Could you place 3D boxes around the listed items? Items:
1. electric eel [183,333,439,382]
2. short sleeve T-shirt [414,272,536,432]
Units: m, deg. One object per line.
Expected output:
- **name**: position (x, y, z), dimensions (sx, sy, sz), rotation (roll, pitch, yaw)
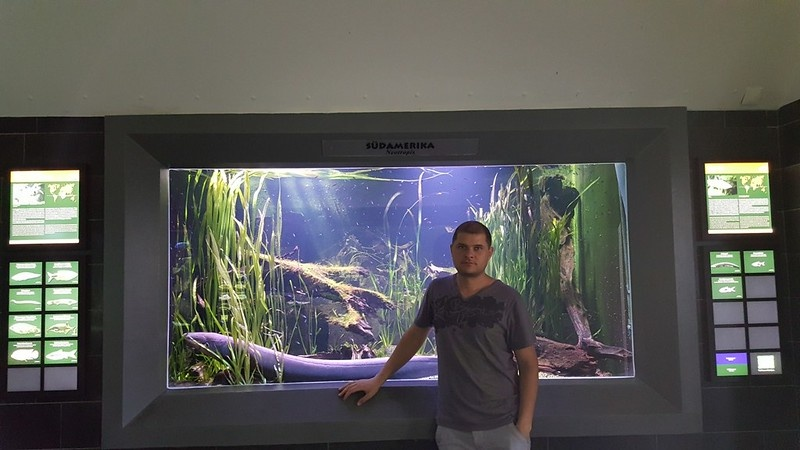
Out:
- **electric eel**: position (-0.645, 0.895, 4.626), dimensions (1.829, 0.231, 0.182), rotation (5, -15, 1)
- **short sleeve T-shirt**: position (0.497, 0.782, 4.222), dimensions (0.629, 0.933, 0.126), rotation (-1, -2, 3)
